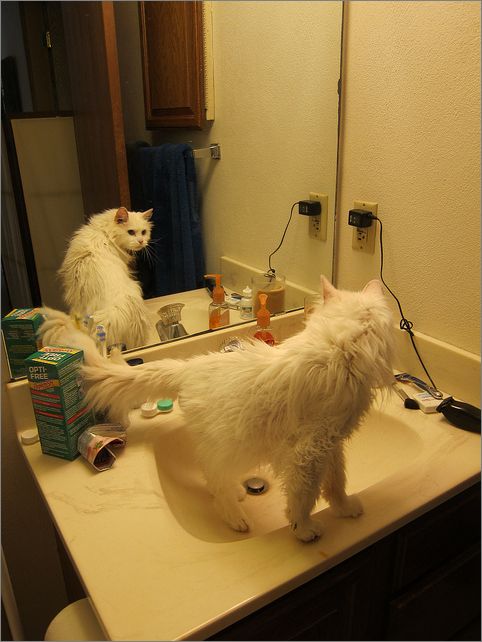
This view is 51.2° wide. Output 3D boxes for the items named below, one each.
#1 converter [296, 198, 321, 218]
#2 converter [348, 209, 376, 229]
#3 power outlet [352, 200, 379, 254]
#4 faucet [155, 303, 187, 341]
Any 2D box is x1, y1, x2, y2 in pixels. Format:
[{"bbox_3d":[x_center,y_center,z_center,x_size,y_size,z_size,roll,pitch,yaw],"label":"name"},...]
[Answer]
[{"bbox_3d":[0.172,-0.286,1.267,0.065,0.045,0.034,-5,13,-32],"label":"converter"},{"bbox_3d":[0.280,-0.241,1.171,0.038,0.050,0.069,-12,23,-27],"label":"converter"},{"bbox_3d":[0.296,-0.228,1.188,0.016,0.150,0.089,-20,31,-30],"label":"power outlet"},{"bbox_3d":[-0.154,0.001,1.151,0.070,0.077,0.075,-14,3,-20],"label":"faucet"}]
